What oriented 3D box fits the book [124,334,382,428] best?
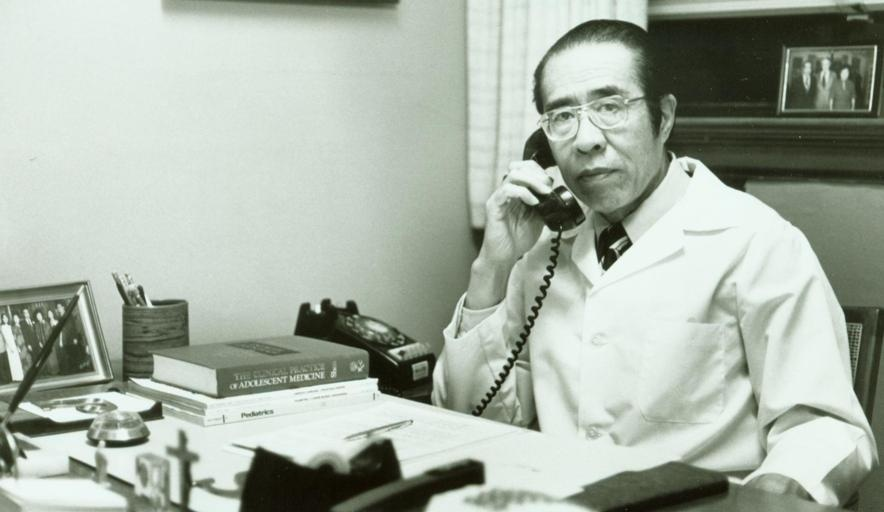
[{"bbox_3d":[-0.504,0.321,2.220,0.618,0.162,0.338,-2,4,-21],"label":"book"}]

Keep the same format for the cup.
[{"bbox_3d":[-0.791,0.242,2.284,0.228,0.209,0.181,-1,1,14],"label":"cup"}]

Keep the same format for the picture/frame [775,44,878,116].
[{"bbox_3d":[1.260,-0.566,2.693,0.271,0.205,0.021,2,-7,19],"label":"picture/frame"}]
